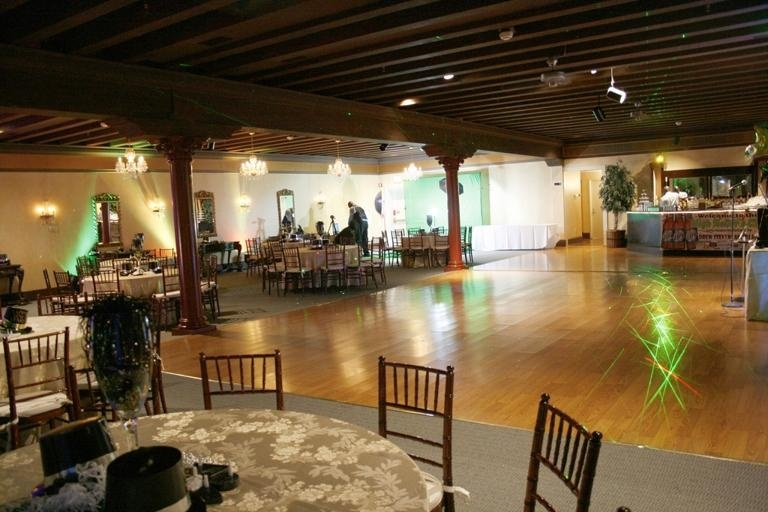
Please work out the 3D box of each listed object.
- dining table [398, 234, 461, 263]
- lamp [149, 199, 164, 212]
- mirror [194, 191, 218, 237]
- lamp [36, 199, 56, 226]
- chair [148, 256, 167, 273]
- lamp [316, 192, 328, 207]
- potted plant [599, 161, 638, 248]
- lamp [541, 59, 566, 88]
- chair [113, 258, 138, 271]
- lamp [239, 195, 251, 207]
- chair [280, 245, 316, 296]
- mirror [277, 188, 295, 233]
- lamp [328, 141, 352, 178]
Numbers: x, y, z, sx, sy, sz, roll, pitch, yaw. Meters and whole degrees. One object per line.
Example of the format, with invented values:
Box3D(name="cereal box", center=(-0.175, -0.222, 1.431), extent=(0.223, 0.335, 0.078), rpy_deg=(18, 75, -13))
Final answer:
Box3D(name="dining table", center=(1.166, -0.050, 14.309), extent=(1.240, 0.873, 1.588), rpy_deg=(1, -7, 1))
Box3D(name="lamp", center=(-6.453, -1.405, 13.741), extent=(0.138, 0.365, 0.419), rpy_deg=(3, 10, 35))
Box3D(name="mirror", center=(-5.386, -1.269, 14.695), extent=(0.659, 1.385, 0.366), rpy_deg=(-8, 10, -30))
Box3D(name="lamp", center=(-8.386, -1.079, 11.922), extent=(0.200, 0.578, 0.655), rpy_deg=(4, 7, 28))
Box3D(name="chair", center=(-4.546, 0.172, 9.683), extent=(0.340, 0.311, 0.340), rpy_deg=(-8, -10, 38))
Box3D(name="lamp", center=(-2.218, -2.039, 17.670), extent=(0.274, 0.544, 0.532), rpy_deg=(2, 9, 32))
Box3D(name="potted plant", center=(7.610, -1.610, 15.626), extent=(1.239, 2.562, 1.116), rpy_deg=(1, 1, -14))
Box3D(name="lamp", center=(2.591, -2.598, 7.197), extent=(0.365, 0.259, 0.528), rpy_deg=(-4, 16, 3))
Box3D(name="chair", center=(-5.399, 0.163, 10.116), extent=(0.595, 0.251, 0.822), rpy_deg=(1, -3, -45))
Box3D(name="lamp", center=(-4.465, -1.751, 15.691), extent=(0.145, 0.412, 0.432), rpy_deg=(3, 10, 37))
Box3D(name="chair", center=(-1.867, 0.312, 10.695), extent=(0.637, 1.005, 0.957), rpy_deg=(-9, 10, -38))
Box3D(name="mirror", center=(-3.314, -1.559, 16.724), extent=(0.243, 1.456, 0.696), rpy_deg=(3, 10, 35))
Box3D(name="lamp", center=(-1.341, -2.930, 14.637), extent=(0.738, 0.987, 0.706), rpy_deg=(0, 20, 24))
